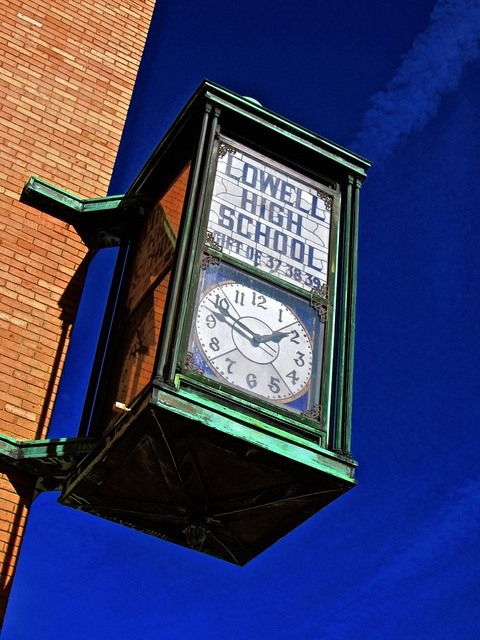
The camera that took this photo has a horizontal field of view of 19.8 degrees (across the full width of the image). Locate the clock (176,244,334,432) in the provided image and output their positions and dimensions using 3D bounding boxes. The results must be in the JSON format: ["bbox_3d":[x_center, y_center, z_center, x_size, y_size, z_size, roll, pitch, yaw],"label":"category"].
[{"bbox_3d":[0.167,0.199,13.942,1.563,1.572,0.093,22,-42,-19],"label":"clock"}]
